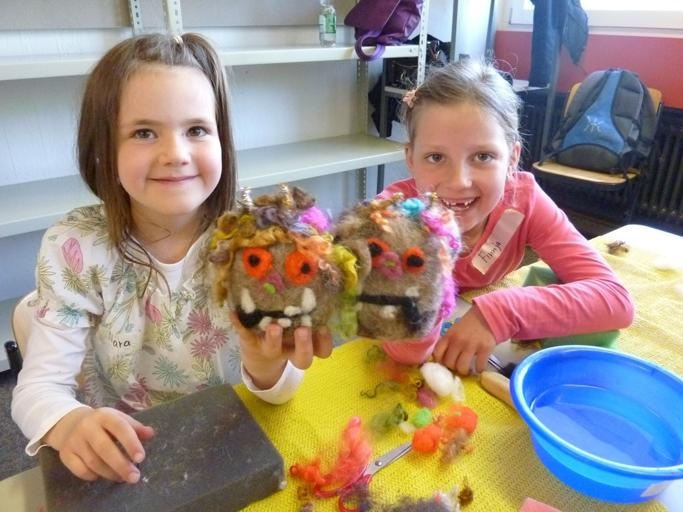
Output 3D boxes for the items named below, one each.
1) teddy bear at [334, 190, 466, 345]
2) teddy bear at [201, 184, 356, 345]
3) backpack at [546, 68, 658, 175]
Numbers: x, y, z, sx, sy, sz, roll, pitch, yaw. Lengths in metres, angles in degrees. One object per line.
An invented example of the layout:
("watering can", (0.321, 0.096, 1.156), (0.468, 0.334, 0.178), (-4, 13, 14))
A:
("teddy bear", (0.084, 0.012, 0.694), (0.196, 0.204, 0.167), (0, 1, 31))
("teddy bear", (-0.077, 0.014, 0.737), (0.209, 0.219, 0.201), (4, -9, 20))
("backpack", (1.140, -0.579, 2.217), (0.253, 0.421, 0.414), (-4, 19, -39))
